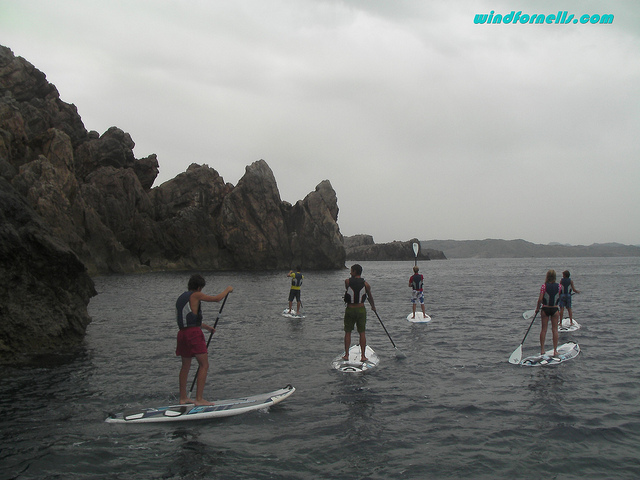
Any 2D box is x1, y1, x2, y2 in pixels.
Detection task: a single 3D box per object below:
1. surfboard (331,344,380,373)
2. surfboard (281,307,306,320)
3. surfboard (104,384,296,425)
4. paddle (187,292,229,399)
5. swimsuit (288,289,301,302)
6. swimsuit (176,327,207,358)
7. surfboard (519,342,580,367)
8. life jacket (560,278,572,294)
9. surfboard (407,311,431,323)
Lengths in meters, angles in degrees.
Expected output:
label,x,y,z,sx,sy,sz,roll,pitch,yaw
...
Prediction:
label,x,y,z,sx,sy,sz,roll,pitch,yaw
surfboard,1.446,4.821,19.752,0.911,0.218,2.908,2,0,11
surfboard,-1.627,4.567,30.445,1.371,0.494,2.022,0,-3,-10
surfboard,-3.885,5.379,15.697,5.525,0.647,0.907,0,-3,-11
paddle,-4.150,4.072,18.289,0.125,4.081,0.277,22,9,-32
swimsuit,-1.593,3.541,31.211,0.659,0.807,0.964,-1,-3,9
swimsuit,-4.165,3.244,15.749,0.992,0.956,0.645,-13,-15,15
surfboard,9.735,4.650,20.098,3.419,0.494,1.020,-9,7,-40
life jacket,12.752,2.394,25.384,0.497,0.826,0.630,-2,-4,26
surfboard,5.706,4.485,28.440,1.214,0.460,1.715,0,-3,-3
